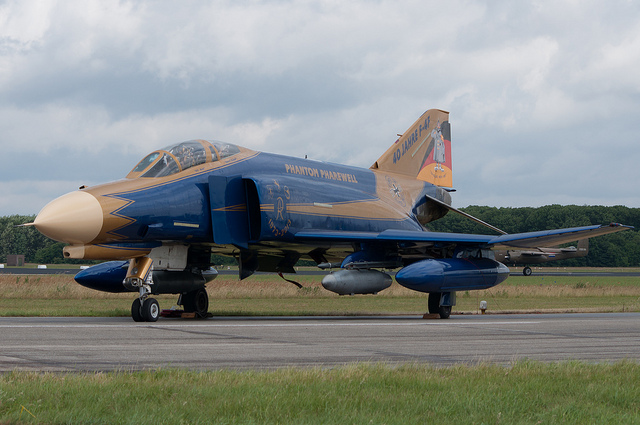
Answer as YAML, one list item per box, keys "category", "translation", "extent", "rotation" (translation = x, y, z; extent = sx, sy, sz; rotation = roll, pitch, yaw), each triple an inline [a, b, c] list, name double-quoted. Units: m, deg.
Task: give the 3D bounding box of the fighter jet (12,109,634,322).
- category: "fighter jet"
  translation: [0.209, 1.339, 25.183]
  extent: [11.709, 3.803, 12.467]
  rotation: [-3, -5, 42]
